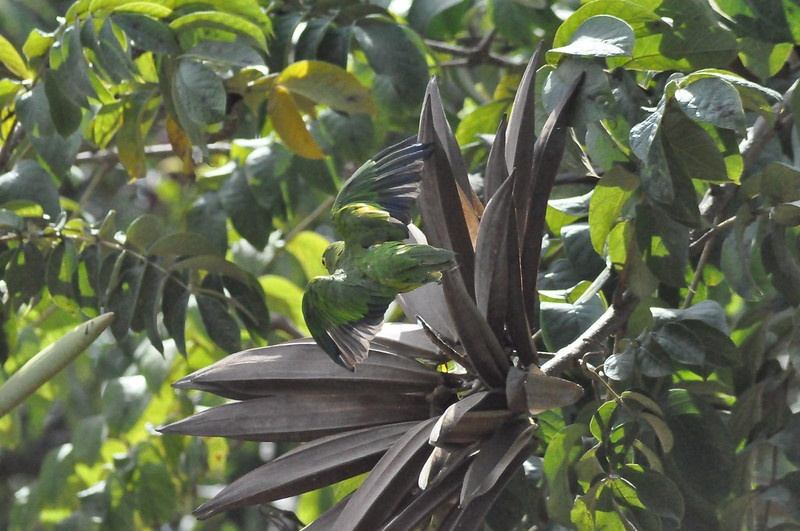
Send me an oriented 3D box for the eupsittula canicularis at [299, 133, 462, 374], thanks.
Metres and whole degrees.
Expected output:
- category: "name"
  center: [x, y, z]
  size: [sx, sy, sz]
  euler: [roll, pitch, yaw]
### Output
- category: "eupsittula canicularis"
  center: [-0.020, -0.018, 2.200]
  size: [0.193, 0.308, 0.101]
  euler: [3, -10, 7]
